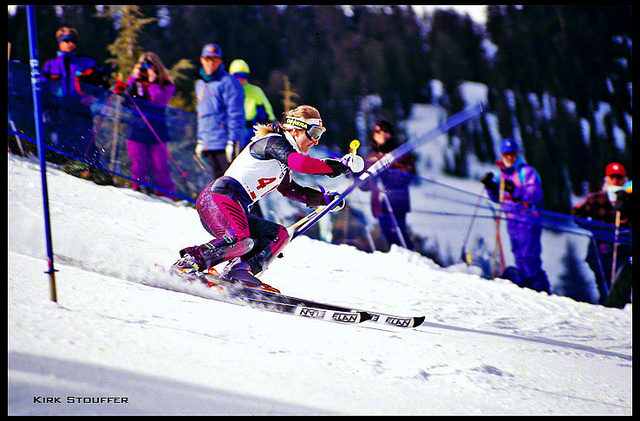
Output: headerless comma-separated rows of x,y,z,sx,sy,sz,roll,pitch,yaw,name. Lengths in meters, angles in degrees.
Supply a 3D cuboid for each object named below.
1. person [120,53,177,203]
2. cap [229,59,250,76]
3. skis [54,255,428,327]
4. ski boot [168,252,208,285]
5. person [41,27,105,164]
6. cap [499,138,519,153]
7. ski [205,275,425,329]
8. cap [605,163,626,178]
-2.367,-1.126,11.479,0.642,1.957,0.716,-1,-3,34,person
-1.153,-2.035,11.672,0.267,0.247,0.230,1,-3,-7,cap
-1.150,1.005,10.279,2.598,0.131,0.275,16,1,-8,skis
-1.580,0.680,9.865,0.376,0.293,0.163,-36,-20,-16,ski boot
-3.390,-1.538,11.249,0.749,1.638,0.359,3,-3,-33,person
2.583,-0.912,11.369,0.177,0.130,0.236,-9,2,-44,cap
-0.152,1.148,10.361,2.478,0.189,0.248,10,-44,-2,ski
4.171,-0.590,11.631,0.267,0.185,0.164,0,-3,20,cap
